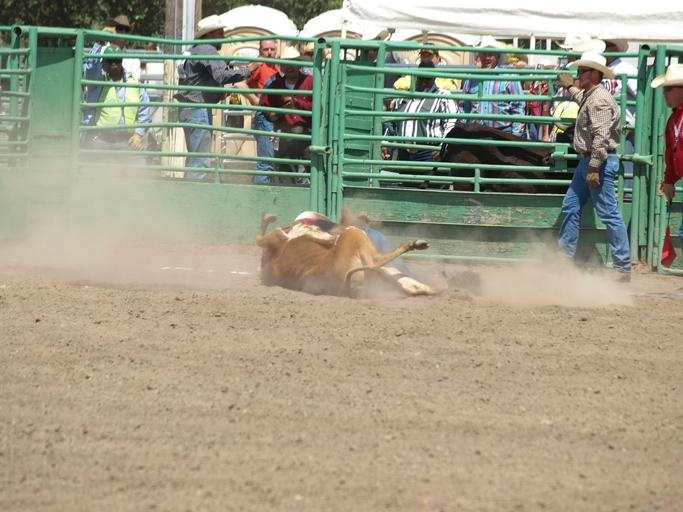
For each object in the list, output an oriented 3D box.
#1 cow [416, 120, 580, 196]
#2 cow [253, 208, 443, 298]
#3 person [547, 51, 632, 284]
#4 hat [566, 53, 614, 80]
[{"bbox_3d":[1.751,-1.145,9.908,1.768,0.983,0.649,6,7,0],"label":"cow"},{"bbox_3d":[-0.021,0.031,7.701,1.694,0.645,0.571,10,11,39],"label":"cow"},{"bbox_3d":[2.699,-0.959,8.917,0.524,2.367,0.794,-3,10,-31],"label":"person"},{"bbox_3d":[2.603,-1.966,8.765,0.316,0.123,0.306,19,-9,-7],"label":"hat"}]
